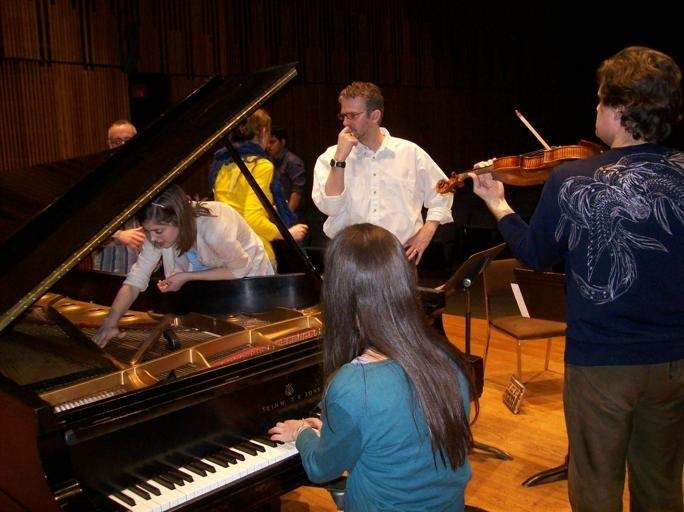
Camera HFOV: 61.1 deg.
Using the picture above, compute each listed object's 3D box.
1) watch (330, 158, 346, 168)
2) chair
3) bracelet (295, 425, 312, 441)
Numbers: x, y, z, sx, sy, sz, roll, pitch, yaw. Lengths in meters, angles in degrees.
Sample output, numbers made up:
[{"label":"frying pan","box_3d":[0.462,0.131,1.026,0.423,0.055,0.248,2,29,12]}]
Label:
[{"label":"watch","box_3d":[-0.020,-0.496,3.205,0.065,0.048,0.073,1,5,-16]},{"label":"chair","box_3d":[1.354,0.504,4.304,0.483,0.877,0.566,2,7,-25]},{"label":"bracelet","box_3d":[-0.135,0.596,1.987,0.061,0.037,0.085,-2,-25,-16]}]
